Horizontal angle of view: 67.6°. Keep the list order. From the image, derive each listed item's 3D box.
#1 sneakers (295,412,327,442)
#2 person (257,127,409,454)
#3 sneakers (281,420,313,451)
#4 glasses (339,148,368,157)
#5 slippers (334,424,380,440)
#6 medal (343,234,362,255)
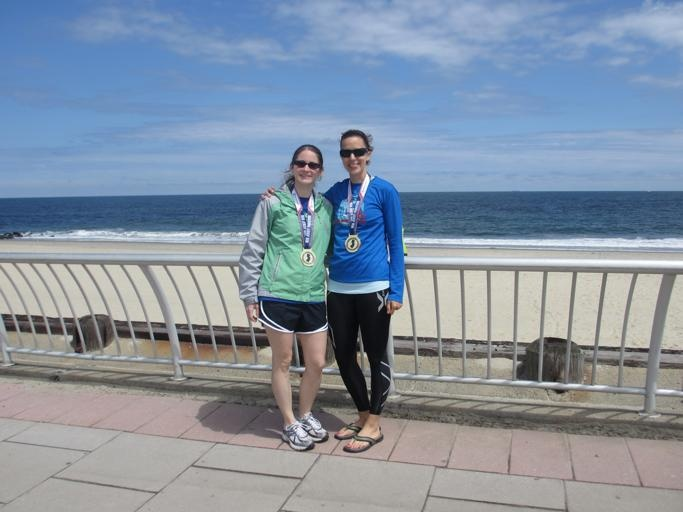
[{"bbox_3d":[-0.230,1.405,4.272,0.132,0.147,0.359,-11,14,-43],"label":"sneakers"},{"bbox_3d":[0.198,0.268,4.092,0.651,2.489,0.769,-3,15,6],"label":"person"},{"bbox_3d":[-0.349,1.454,4.171,0.143,0.128,0.308,-1,3,-43],"label":"sneakers"},{"bbox_3d":[0.101,-0.814,4.033,0.218,0.067,0.064,-3,14,0],"label":"glasses"},{"bbox_3d":[0.126,1.454,4.233,0.283,0.073,0.145,4,-5,-14],"label":"slippers"},{"bbox_3d":[0.084,-0.098,3.981,0.129,0.141,0.031,2,0,14],"label":"medal"}]
